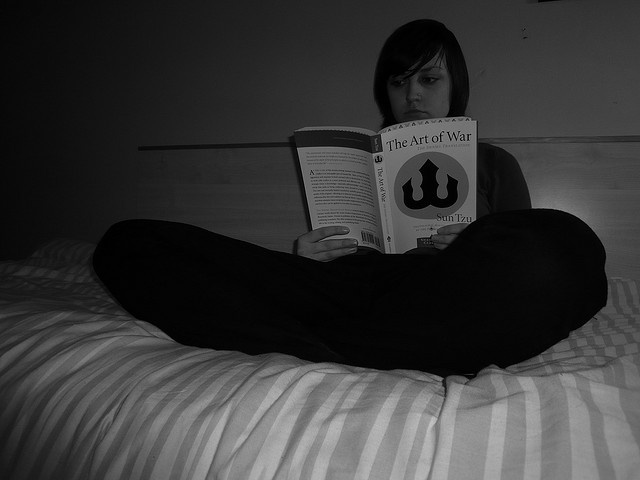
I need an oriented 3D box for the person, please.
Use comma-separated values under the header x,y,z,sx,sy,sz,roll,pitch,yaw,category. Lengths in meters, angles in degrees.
x,y,z,sx,sy,sz,roll,pitch,yaw,category
0.143,-0.162,1.391,1.122,0.917,0.692,1,-8,22,person
